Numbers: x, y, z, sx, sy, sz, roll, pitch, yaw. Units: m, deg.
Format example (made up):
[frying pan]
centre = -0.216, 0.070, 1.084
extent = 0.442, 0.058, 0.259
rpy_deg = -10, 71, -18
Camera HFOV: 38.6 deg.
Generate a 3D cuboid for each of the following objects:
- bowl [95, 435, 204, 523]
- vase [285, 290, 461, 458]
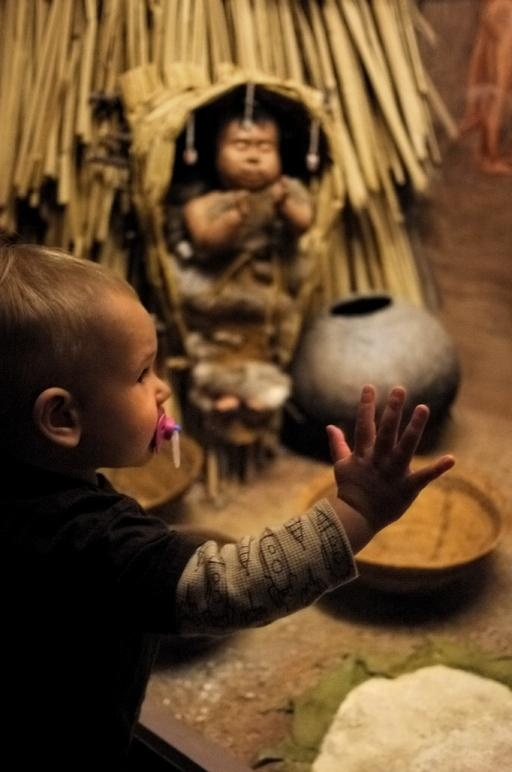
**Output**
[bowl]
centre = -0.174, 0.177, 1.292
extent = 0.187, 0.069, 0.184
rpy_deg = 0, 22, 0
[vase]
centre = 0.163, -0.024, 1.146
extent = 0.247, 0.201, 0.282
rpy_deg = -4, 10, 13
